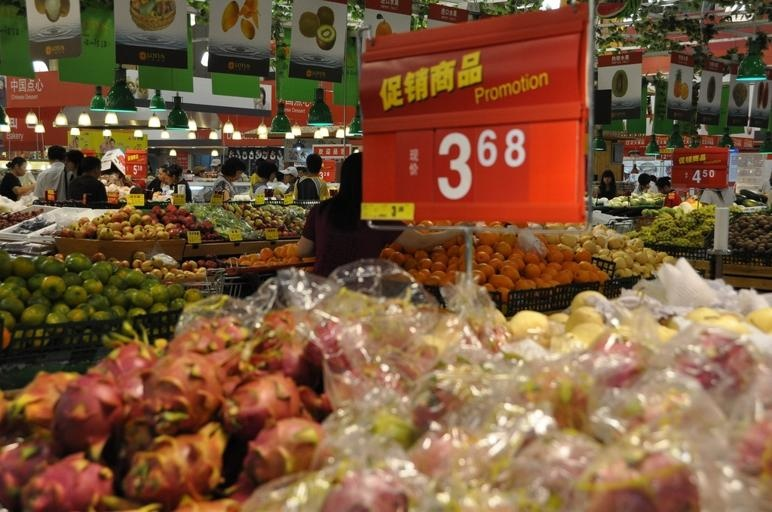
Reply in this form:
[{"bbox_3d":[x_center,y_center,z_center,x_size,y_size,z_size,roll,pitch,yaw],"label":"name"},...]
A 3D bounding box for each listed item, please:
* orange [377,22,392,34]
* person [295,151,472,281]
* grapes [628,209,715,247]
[{"bbox_3d":[-0.030,-2.644,6.184,0.171,0.186,0.307,1,12,4],"label":"orange"},{"bbox_3d":[-0.212,0.183,3.568,0.756,1.704,0.476,13,27,14],"label":"person"},{"bbox_3d":[3.038,-0.283,5.619,0.598,0.369,0.755,-1,7,5],"label":"grapes"}]
